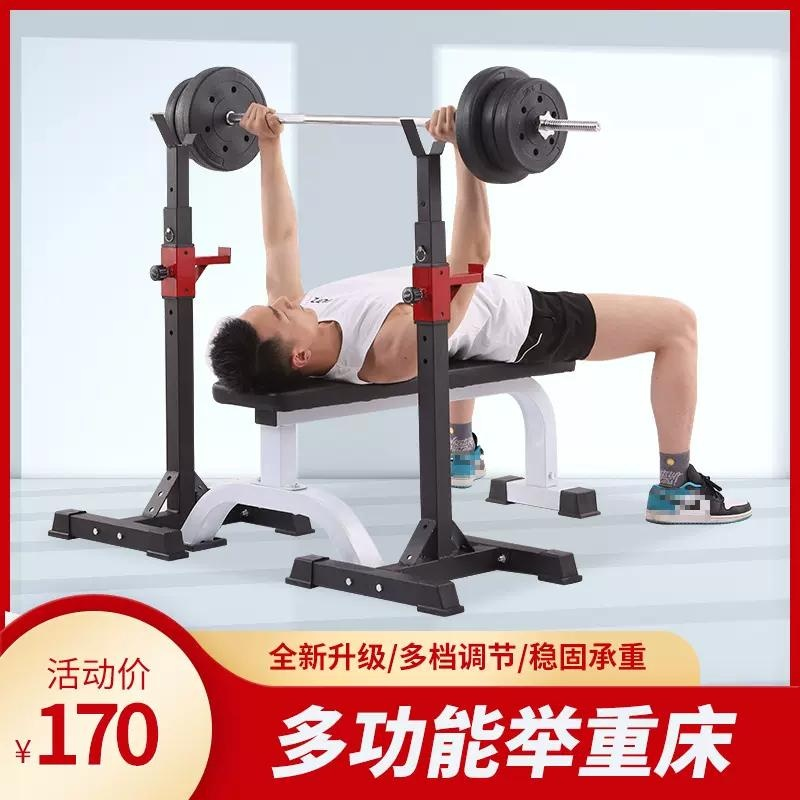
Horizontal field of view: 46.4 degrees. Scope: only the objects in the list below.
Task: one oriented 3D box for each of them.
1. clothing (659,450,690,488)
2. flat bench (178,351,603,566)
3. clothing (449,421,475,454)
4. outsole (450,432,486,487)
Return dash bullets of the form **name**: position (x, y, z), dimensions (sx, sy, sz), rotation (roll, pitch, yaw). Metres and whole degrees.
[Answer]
- **clothing**: position (0.804, 0.200, 2.731), dimensions (0.067, 0.109, 0.112), rotation (7, 7, 44)
- **flat bench**: position (-0.091, 0.195, 2.419), dimensions (1.021, 0.535, 0.455), rotation (-12, 18, -32)
- **clothing**: position (0.219, 0.126, 3.261), dimensions (0.075, 0.109, 0.119), rotation (8, 16, 33)
- **outsole**: position (0.239, 0.214, 3.297), dimensions (0.144, 0.078, 0.190), rotation (-1, 5, 2)
